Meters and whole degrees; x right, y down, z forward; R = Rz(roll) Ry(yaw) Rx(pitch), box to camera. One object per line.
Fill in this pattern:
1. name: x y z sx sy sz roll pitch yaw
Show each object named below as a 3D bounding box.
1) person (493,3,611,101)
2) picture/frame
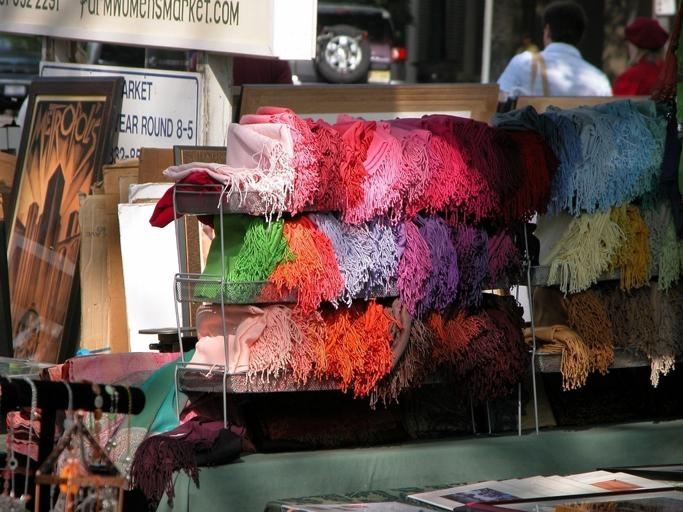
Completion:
1. person: 1.438 -1.389 9.010 0.766 0.868 0.530 -2 -13 -7
2. picture/frame: -1.695 -0.262 8.092 0.815 1.786 0.119 -9 -14 24
